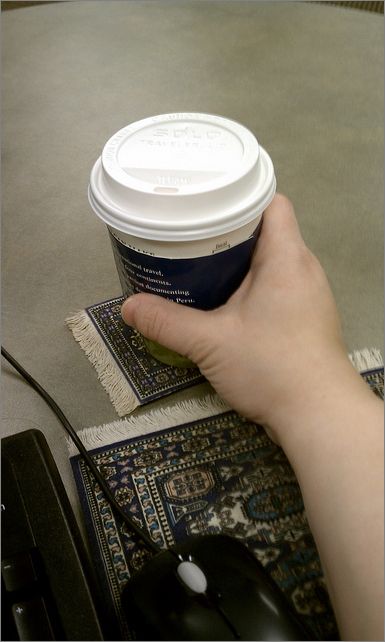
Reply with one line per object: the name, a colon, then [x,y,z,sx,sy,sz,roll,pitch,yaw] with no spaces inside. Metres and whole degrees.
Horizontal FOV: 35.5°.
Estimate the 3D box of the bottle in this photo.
bottle: [-0.006,-0.068,0.527,0.158,0.194,0.158,1,56,0]
